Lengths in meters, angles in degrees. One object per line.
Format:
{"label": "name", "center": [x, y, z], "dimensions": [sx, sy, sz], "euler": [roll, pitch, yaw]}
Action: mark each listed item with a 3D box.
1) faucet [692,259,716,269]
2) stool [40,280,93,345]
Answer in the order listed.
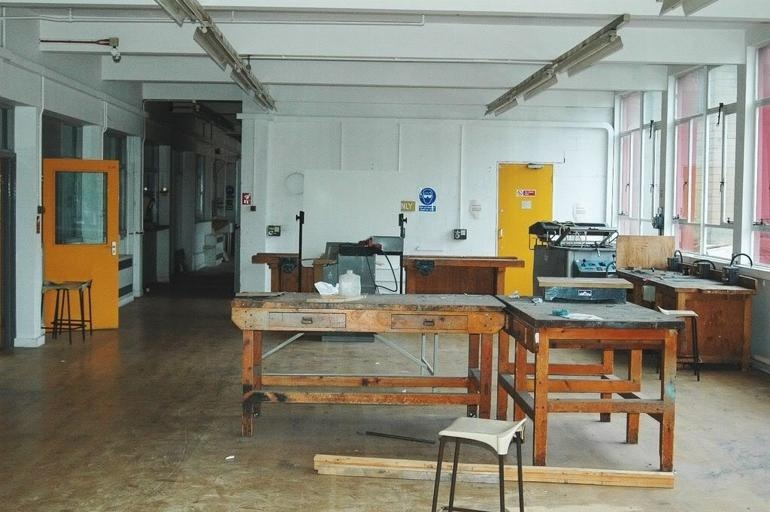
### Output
{"label": "faucet", "center": [4.267, 0.113, 9.347], "dimensions": [0.186, 0.087, 0.131], "euler": [3, -2, -30]}
{"label": "stool", "center": [-4.355, 0.728, 9.623], "dimensions": [0.645, 0.780, 0.697], "euler": [-3, 4, -20]}
